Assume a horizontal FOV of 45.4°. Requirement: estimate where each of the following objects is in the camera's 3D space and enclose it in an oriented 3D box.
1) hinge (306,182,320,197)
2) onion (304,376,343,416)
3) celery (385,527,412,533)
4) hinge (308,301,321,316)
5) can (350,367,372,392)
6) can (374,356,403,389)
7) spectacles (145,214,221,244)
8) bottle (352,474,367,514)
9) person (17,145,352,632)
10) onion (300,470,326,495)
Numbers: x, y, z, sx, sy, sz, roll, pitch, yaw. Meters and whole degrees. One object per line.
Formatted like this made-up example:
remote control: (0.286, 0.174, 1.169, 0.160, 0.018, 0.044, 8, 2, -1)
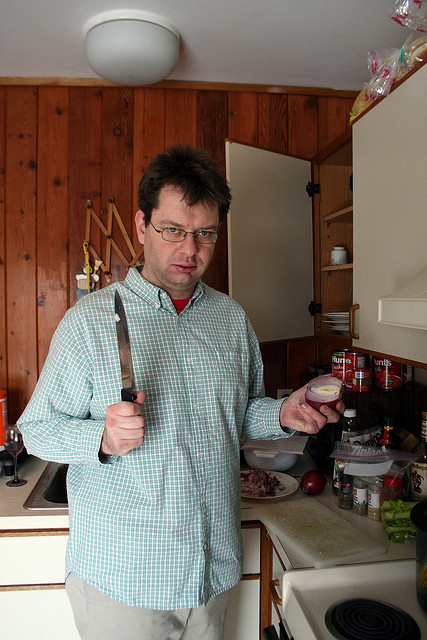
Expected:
hinge: (0.407, -0.540, 2.110, 0.060, 0.042, 0.044, 1, 12, 8)
onion: (0.234, 0.153, 1.079, 0.080, 0.079, 0.070, 2, 10, -22)
celery: (0.467, 0.526, 1.287, 0.066, 0.018, 0.014, -5, 4, -4)
hinge: (0.412, -0.045, 2.117, 0.050, 0.050, 0.012, 4, 4, 39)
can: (0.491, 0.199, 1.696, 0.073, 0.077, 0.073, 0, -3, 3)
can: (0.572, 0.176, 1.687, 0.086, 0.104, 0.058, -1, 7, 27)
spectacles: (-0.070, -0.197, 1.107, 0.144, 0.045, 0.114, 3, 10, 4)
bottle: (0.413, 0.492, 1.452, 0.050, 0.097, 0.049, -4, 7, 0)
person: (-0.144, 0.182, 1.172, 0.357, 1.121, 0.515, 0, 8, 32)
onion: (0.307, 0.508, 1.586, 0.076, 0.065, 0.065, -3, 7, 5)
